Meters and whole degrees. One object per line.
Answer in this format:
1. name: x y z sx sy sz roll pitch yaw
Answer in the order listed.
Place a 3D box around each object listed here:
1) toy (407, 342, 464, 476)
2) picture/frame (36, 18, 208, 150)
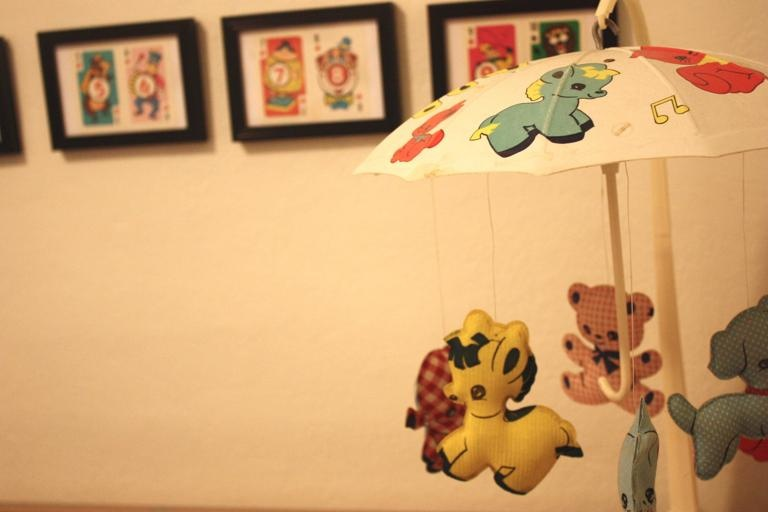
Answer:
1. toy: 0.139 0.415 2.213 0.193 0.314 0.097 2 -6 9
2. picture/frame: -0.797 -0.549 2.540 0.383 0.289 0.019 -2 7 3
